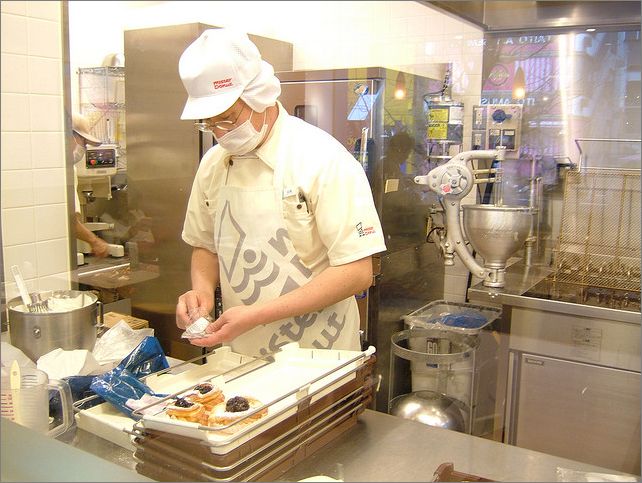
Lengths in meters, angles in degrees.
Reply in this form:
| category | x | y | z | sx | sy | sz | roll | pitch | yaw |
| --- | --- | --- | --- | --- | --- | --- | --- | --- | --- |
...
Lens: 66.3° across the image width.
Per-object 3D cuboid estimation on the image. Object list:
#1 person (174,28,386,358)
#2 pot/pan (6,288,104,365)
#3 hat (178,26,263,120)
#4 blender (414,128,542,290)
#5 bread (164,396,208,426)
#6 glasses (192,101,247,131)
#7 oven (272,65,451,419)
| category | x | y | z | sx | sy | sz | roll | pitch | yaw |
| --- | --- | --- | --- | --- | --- | --- | --- | --- | --- |
| person | -0.150 | -0.091 | 1.364 | 0.641 | 0.941 | 0.512 | -1 | 11 | 3 |
| pot/pan | -0.742 | 0.226 | 1.405 | 0.206 | 0.123 | 0.200 | 0 | 0 | 8 |
| hat | -0.256 | -0.427 | 1.249 | 0.209 | 0.224 | 0.115 | -4 | 11 | -10 |
| blender | 0.605 | -0.092 | 1.956 | 0.507 | 0.525 | 0.320 | 2 | 5 | 10 |
| bread | -0.242 | 0.298 | 0.872 | 0.049 | 0.017 | 0.038 | 14 | 9 | 26 |
| glasses | -0.269 | -0.319 | 1.276 | 0.091 | 0.026 | 0.090 | 3 | 45 | 51 |
| oven | 0.049 | -0.156 | 2.376 | 0.558 | 1.232 | 0.468 | 1 | -4 | 14 |
